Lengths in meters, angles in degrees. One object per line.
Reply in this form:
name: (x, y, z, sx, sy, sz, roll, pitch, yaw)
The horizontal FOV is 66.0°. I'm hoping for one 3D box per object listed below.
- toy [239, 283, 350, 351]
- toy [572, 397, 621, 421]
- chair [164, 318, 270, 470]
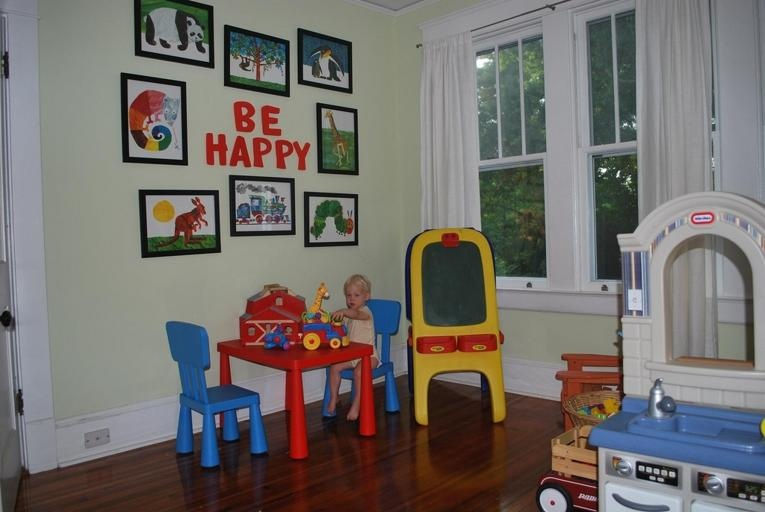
toy: (-0.637, 0.430, 4.345, 0.714, 0.480, 0.445, 2, 0, 1)
toy: (1.409, 1.013, 3.934, 0.265, 0.092, 0.269, -5, -3, -32)
chair: (-1.167, 0.880, 4.027, 0.457, 0.937, 0.658, -11, 15, -41)
